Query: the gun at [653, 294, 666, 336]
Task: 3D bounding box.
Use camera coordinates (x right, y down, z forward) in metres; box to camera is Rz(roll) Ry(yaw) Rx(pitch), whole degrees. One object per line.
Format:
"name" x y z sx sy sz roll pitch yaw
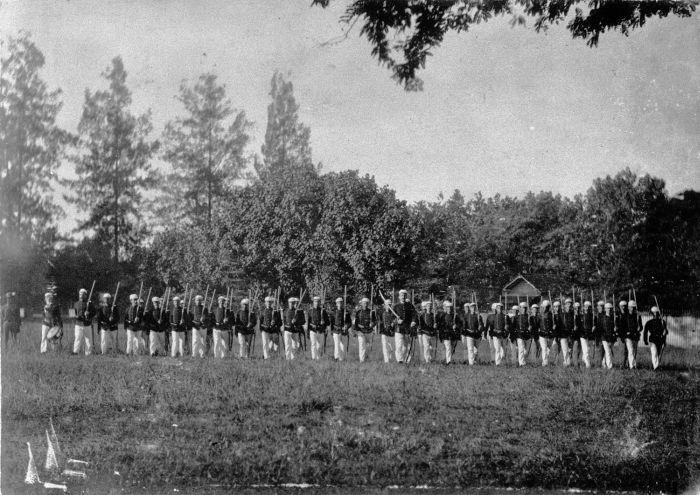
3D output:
"gun" 6.892 1.488 23.894 0.253 0.844 0.549 -7 -10 32

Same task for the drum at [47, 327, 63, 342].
"drum" -7.105 2.057 25.608 0.156 0.352 0.466 -7 -10 32

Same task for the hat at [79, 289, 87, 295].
"hat" -6.373 1.045 25.308 0.132 0.170 0.141 2 -10 -10

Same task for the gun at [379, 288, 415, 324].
"gun" 1.195 1.561 27.327 0.799 0.870 0.714 6 -7 -31

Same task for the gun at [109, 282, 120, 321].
"gun" -5.741 1.256 25.798 0.098 1.065 0.183 7 33 -5

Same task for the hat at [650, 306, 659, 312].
"hat" 6.788 1.379 23.858 0.142 0.157 0.111 -18 14 -20

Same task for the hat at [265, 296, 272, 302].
"hat" -2.128 1.315 27.598 0.118 0.123 0.155 7 -18 -32

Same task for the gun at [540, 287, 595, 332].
"gun" 5.210 1.429 25.430 0.729 0.371 0.751 4 -39 -18
